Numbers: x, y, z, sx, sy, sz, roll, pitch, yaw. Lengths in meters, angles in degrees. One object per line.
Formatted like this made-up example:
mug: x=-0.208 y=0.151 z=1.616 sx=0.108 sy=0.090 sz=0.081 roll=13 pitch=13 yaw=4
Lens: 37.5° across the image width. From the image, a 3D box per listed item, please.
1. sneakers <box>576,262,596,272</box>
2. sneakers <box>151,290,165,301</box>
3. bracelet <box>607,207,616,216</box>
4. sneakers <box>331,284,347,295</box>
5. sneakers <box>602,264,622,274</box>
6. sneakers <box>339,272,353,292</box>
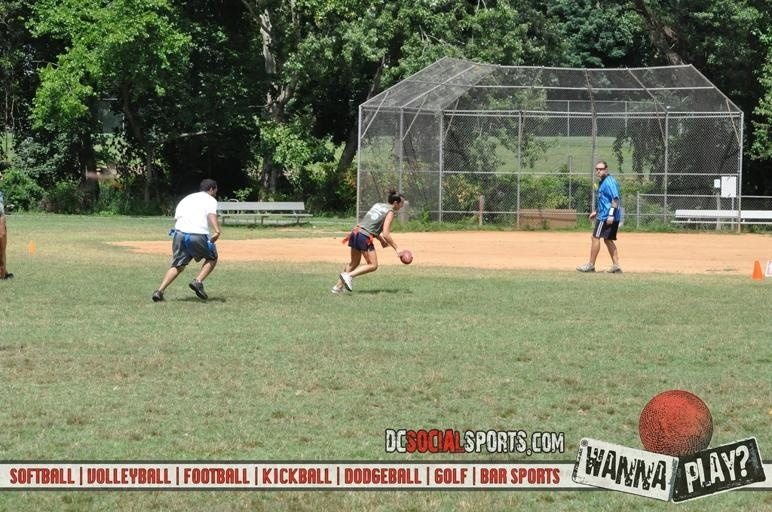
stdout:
sneakers: x=4.546 y=0.253 z=25.919 sx=0.507 sy=0.222 sz=0.188 roll=0 pitch=7 yaw=-12
sneakers: x=-4.485 y=0.759 z=22.429 sx=0.222 sy=0.218 sz=0.334 roll=-2 pitch=13 yaw=-12
bracelet: x=5.065 y=-1.010 z=25.439 sx=0.266 sy=0.146 sz=0.152 roll=-14 pitch=1 yaw=-21
sneakers: x=-0.946 y=0.689 z=23.187 sx=0.314 sy=0.147 sz=0.137 roll=-3 pitch=15 yaw=-18
sneakers: x=5.128 y=0.298 z=25.727 sx=0.412 sy=0.191 sz=0.143 roll=4 pitch=10 yaw=21
sneakers: x=-0.780 y=0.541 z=23.015 sx=0.225 sy=0.468 sz=0.164 roll=-18 pitch=31 yaw=4
